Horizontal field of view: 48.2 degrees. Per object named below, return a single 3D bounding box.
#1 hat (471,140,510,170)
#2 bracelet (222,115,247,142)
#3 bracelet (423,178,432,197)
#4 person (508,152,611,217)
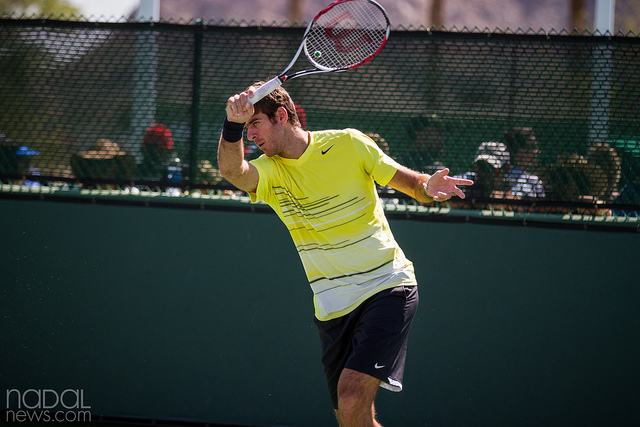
[{"bbox_3d":[1.607,-0.555,6.706,0.343,0.275,0.075,-1,5,-8],"label":"hat"},{"bbox_3d":[-0.669,-0.678,5.603,0.164,0.183,0.166,15,23,36],"label":"bracelet"},{"bbox_3d":[0.858,-0.207,5.738,0.017,0.121,0.084,-3,6,-28],"label":"bracelet"},{"bbox_3d":[2.376,-0.254,6.678,0.736,0.628,0.202,1,3,7],"label":"person"}]
